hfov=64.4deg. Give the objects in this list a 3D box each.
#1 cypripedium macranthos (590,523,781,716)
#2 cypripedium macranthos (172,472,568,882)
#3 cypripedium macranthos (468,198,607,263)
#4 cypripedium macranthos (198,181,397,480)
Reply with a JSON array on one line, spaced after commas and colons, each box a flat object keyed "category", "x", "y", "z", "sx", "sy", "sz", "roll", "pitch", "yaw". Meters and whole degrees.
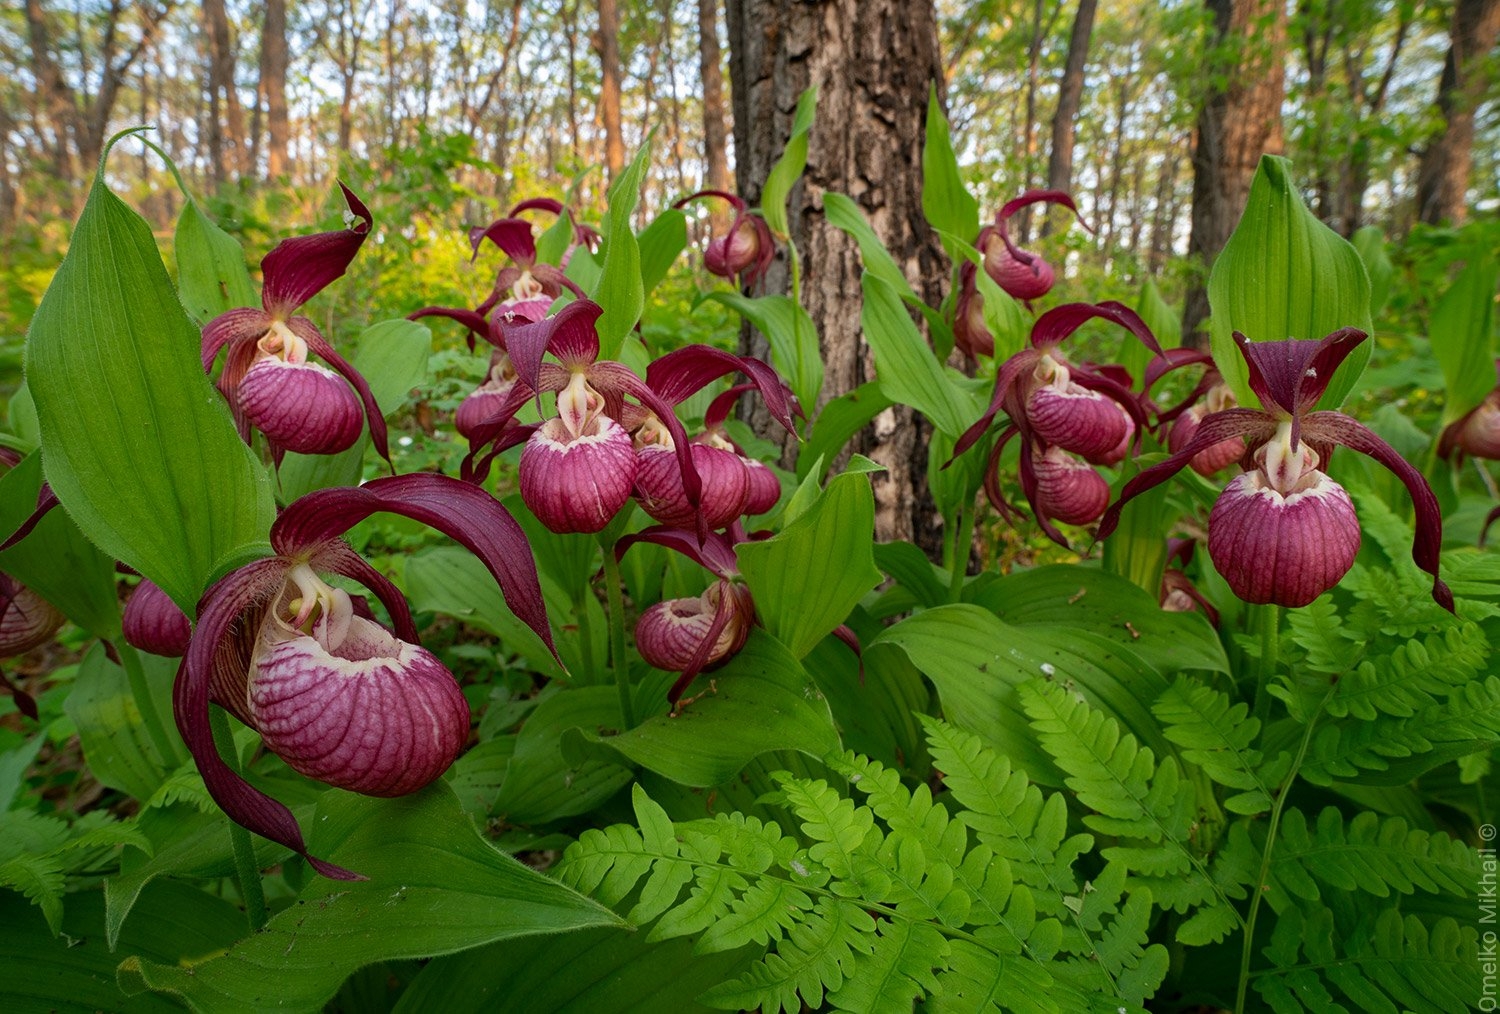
[{"category": "cypripedium macranthos", "x": -0.216, "y": 0.413, "z": 4.281, "sx": 0.529, "sy": 0.488, "sz": 0.717, "roll": 8, "pitch": 5, "yaw": -24}, {"category": "cypripedium macranthos", "x": -1.260, "y": 0.477, "z": 3.802, "sx": 1.062, "sy": 1.223, "sz": 0.342, "roll": 5, "pitch": 4, "yaw": -1}, {"category": "cypripedium macranthos", "x": -0.997, "y": -1.265, "z": 5.236, "sx": 0.556, "sy": 0.353, "sz": 0.456, "roll": -10, "pitch": 16, "yaw": -24}, {"category": "cypripedium macranthos", "x": -1.646, "y": -0.719, "z": 4.448, "sx": 0.595, "sy": 1.117, "sz": 0.585, "roll": 11, "pitch": 18, "yaw": 23}]
